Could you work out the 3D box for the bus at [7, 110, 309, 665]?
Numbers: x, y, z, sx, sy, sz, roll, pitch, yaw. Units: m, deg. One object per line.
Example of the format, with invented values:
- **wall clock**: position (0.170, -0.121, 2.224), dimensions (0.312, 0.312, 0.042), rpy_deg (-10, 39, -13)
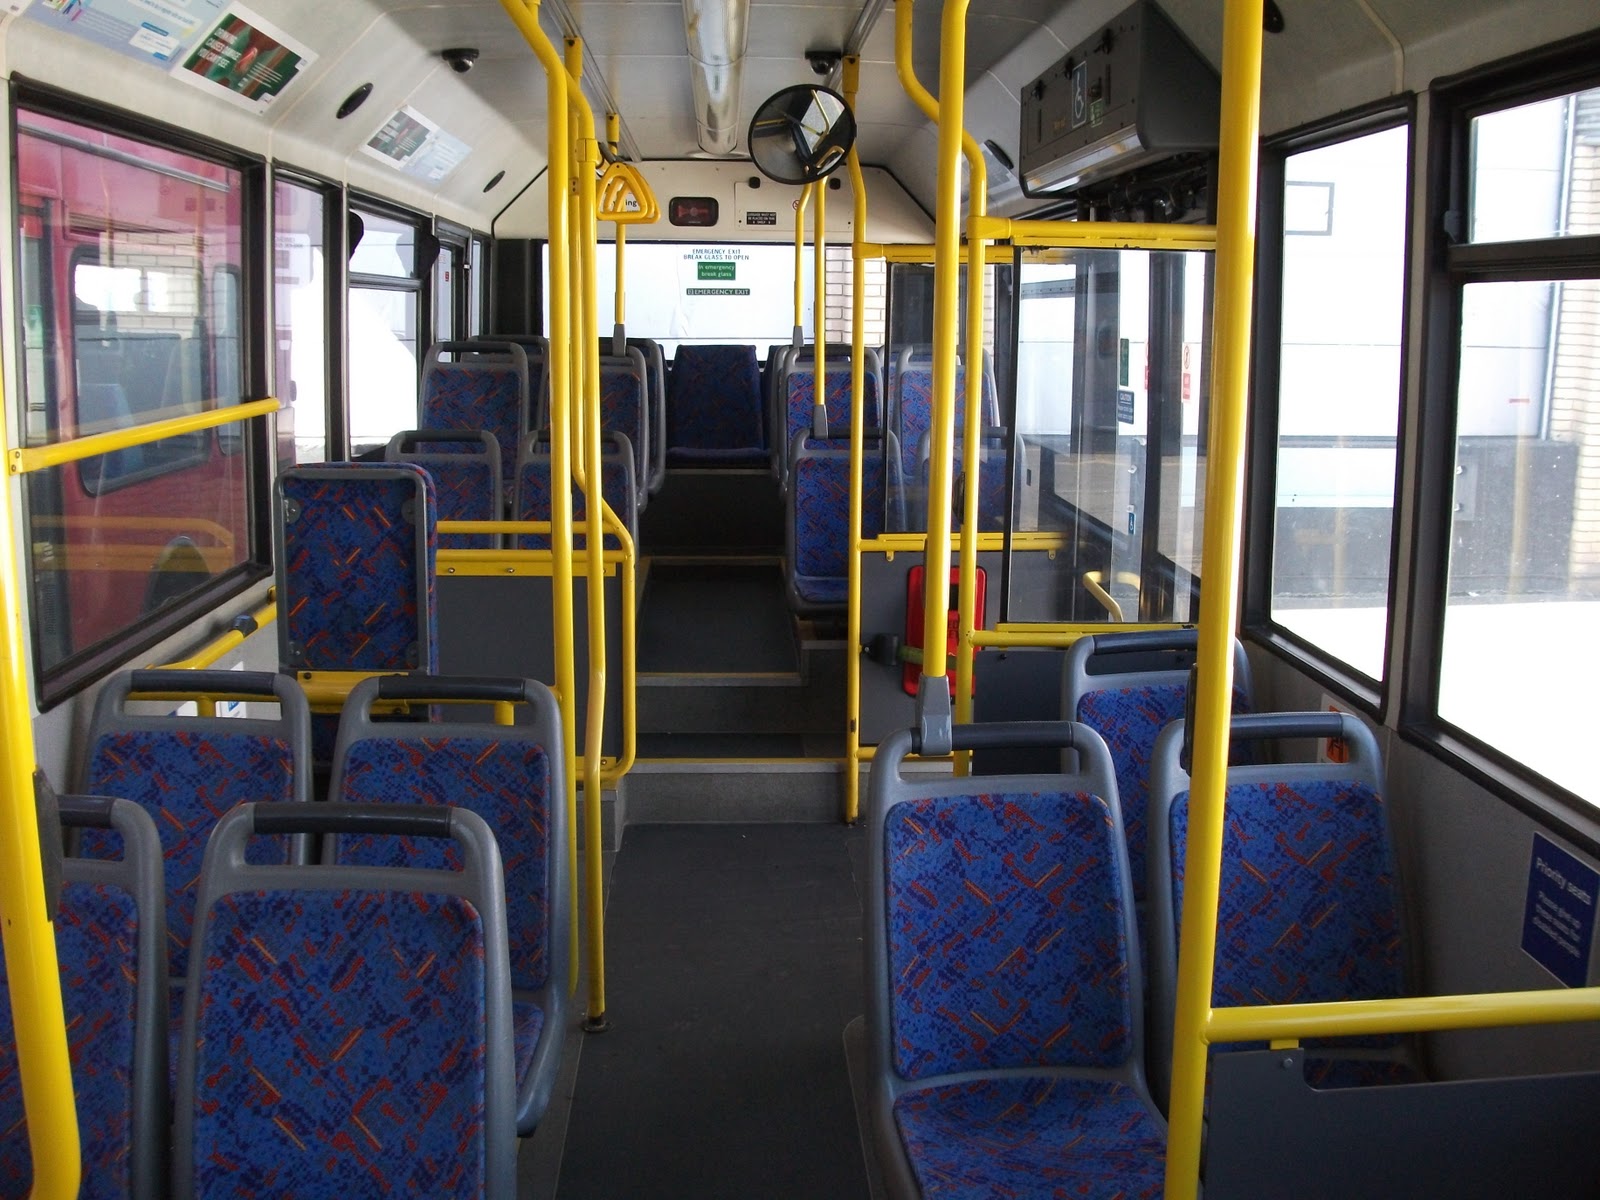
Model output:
- **bus**: position (-2.287, -0.744, 4.685), dimensions (0.091, 1.670, 2.138), rpy_deg (2, 6, -3)
